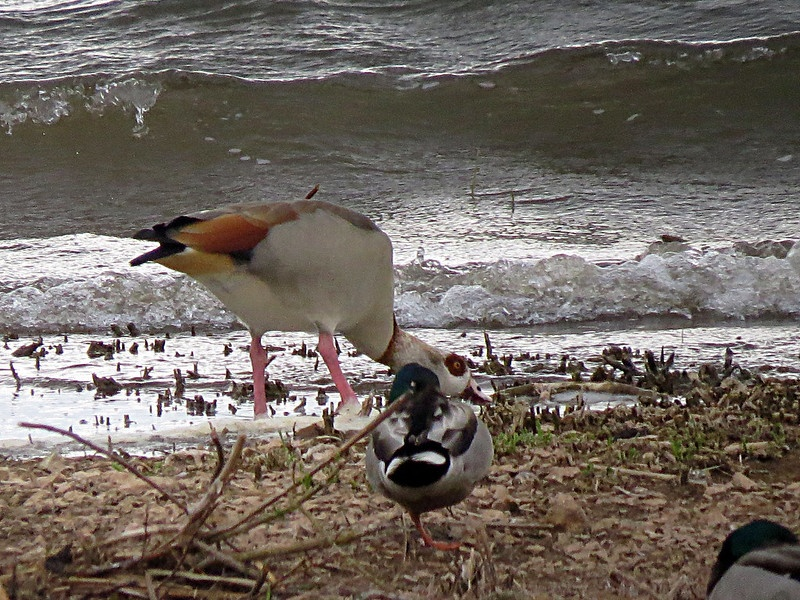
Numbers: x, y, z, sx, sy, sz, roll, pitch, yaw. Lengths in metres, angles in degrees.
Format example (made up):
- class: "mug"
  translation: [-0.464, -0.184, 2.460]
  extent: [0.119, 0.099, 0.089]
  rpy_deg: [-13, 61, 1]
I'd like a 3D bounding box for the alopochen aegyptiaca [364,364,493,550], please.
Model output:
- class: "alopochen aegyptiaca"
  translation: [0.183, 0.807, 6.476]
  extent: [0.713, 0.812, 0.449]
  rpy_deg: [2, 11, -6]
